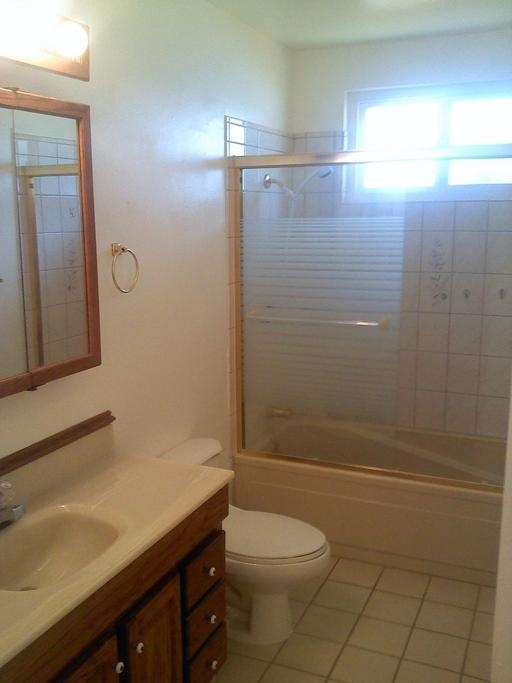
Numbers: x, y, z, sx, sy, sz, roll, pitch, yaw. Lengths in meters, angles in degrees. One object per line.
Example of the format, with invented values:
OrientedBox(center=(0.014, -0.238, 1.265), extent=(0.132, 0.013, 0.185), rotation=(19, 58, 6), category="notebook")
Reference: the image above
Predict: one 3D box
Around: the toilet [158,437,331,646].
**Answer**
OrientedBox(center=(-0.023, 0.757, 2.269), extent=(0.816, 0.792, 0.460), rotation=(1, 6, 31), category="toilet")

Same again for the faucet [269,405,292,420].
OrientedBox(center=(0.114, 0.346, 2.609), extent=(0.081, 0.029, 0.062), rotation=(11, -3, 1), category="faucet")
